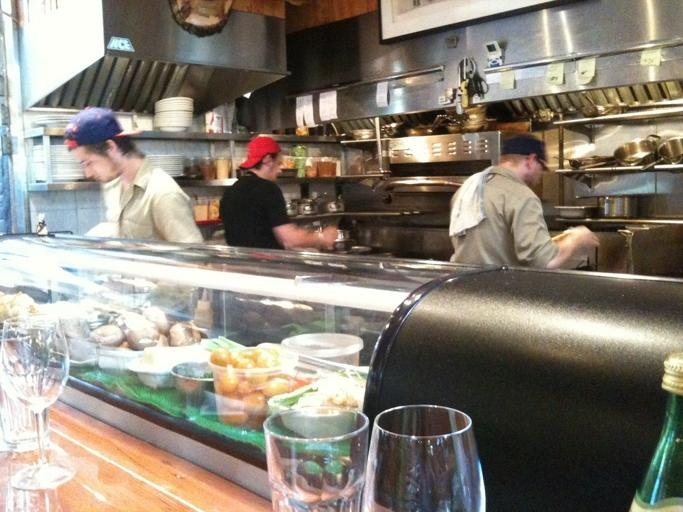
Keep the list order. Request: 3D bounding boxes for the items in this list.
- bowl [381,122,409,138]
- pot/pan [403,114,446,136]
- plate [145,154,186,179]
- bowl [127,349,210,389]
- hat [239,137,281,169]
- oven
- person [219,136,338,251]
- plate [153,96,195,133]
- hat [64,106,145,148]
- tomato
[{"bbox_3d":[0.434,-1.032,4.210,0.182,0.060,0.126,-9,11,-39],"label":"bowl"},{"bbox_3d":[0.685,-1.014,4.052,0.215,0.073,0.155,-21,3,40],"label":"pot/pan"},{"bbox_3d":[-1.139,-0.600,3.350,0.238,0.128,0.229,1,9,-4],"label":"plate"},{"bbox_3d":[-0.369,0.265,1.118,0.164,0.067,0.150,-1,-22,0],"label":"bowl"},{"bbox_3d":[-0.469,-0.617,3.046,0.255,0.132,0.161,-28,23,-33],"label":"hat"},{"bbox_3d":[0.732,-0.598,3.849,0.813,0.370,0.423,-2,-9,12],"label":"oven"},{"bbox_3d":[-0.446,-0.326,2.939,0.532,0.711,0.594,-1,13,18],"label":"person"},{"bbox_3d":[-1.166,-0.967,3.612,0.252,0.206,0.266,2,3,9],"label":"plate"},{"bbox_3d":[-1.059,-0.563,2.292,0.270,0.138,0.165,-22,21,-26],"label":"hat"},{"bbox_3d":[-0.169,0.226,0.909,0.144,0.131,0.143,-5,-7,27],"label":"tomato"}]
